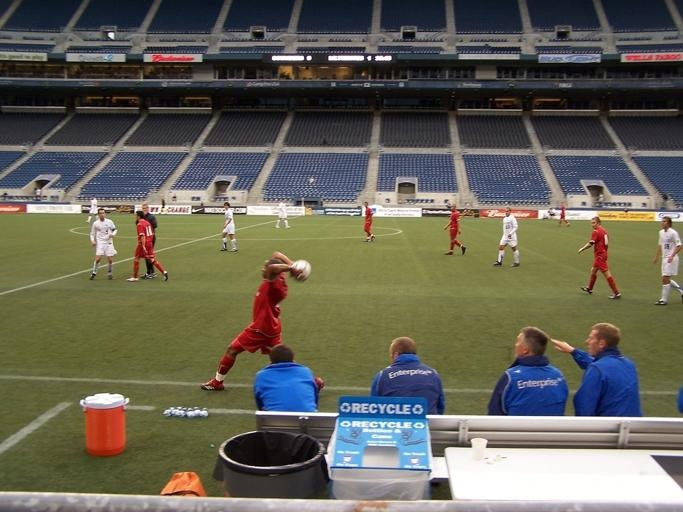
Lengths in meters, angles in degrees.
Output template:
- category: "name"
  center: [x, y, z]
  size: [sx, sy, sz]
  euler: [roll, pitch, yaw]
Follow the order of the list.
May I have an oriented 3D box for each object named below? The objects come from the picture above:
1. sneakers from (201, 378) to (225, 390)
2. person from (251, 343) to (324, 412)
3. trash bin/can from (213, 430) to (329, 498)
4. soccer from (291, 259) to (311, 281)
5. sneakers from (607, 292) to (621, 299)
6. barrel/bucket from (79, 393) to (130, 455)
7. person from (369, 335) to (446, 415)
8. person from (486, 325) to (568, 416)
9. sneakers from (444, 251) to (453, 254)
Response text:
- category: "sneakers"
  center: [-1.917, 2.045, 9.658]
  size: [0.510, 0.125, 0.127]
  euler: [1, -22, 3]
- category: "person"
  center: [-0.664, 1.497, 7.431]
  size: [0.742, 0.749, 0.639]
  euler: [2, 2, -5]
- category: "trash bin/can"
  center: [-0.651, 2.000, 5.855]
  size: [1.197, 0.241, 0.803]
  euler: [1, 2, 14]
- category: "soccer"
  center: [-0.592, 0.215, 8.923]
  size: [0.253, 0.282, 0.473]
  euler: [2, 2, -4]
- category: "sneakers"
  center: [7.050, 1.041, 15.976]
  size: [0.178, 0.114, 0.353]
  euler: [-2, 5, 9]
- category: "barrel/bucket"
  center: [-2.988, 2.134, 7.779]
  size: [0.542, 0.737, 0.261]
  euler: [2, 2, -13]
- category: "person"
  center: [0.761, 1.439, 7.320]
  size: [0.693, 0.855, 0.765]
  euler: [1, 2, -33]
- category: "person"
  center: [2.200, 1.355, 7.119]
  size: [0.579, 0.978, 0.642]
  euler: [1, 3, -44]
- category: "sneakers"
  center: [4.189, -0.100, 24.099]
  size: [0.283, 0.135, 0.482]
  euler: [2, 2, 8]
